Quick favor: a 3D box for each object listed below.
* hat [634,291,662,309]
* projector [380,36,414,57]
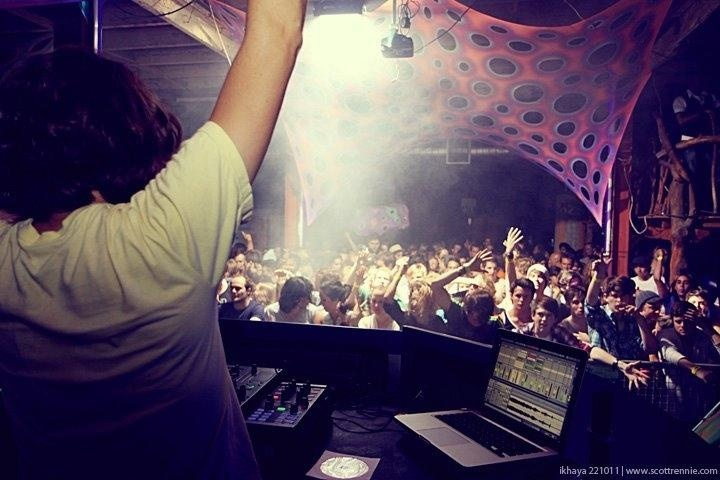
[{"bbox_3d":[2.790,0.559,5.146,0.270,0.140,0.200,-21,-14,37],"label":"hat"},{"bbox_3d":[0.291,-1.551,4.247,0.283,0.273,0.082,4,-2,7],"label":"projector"}]
